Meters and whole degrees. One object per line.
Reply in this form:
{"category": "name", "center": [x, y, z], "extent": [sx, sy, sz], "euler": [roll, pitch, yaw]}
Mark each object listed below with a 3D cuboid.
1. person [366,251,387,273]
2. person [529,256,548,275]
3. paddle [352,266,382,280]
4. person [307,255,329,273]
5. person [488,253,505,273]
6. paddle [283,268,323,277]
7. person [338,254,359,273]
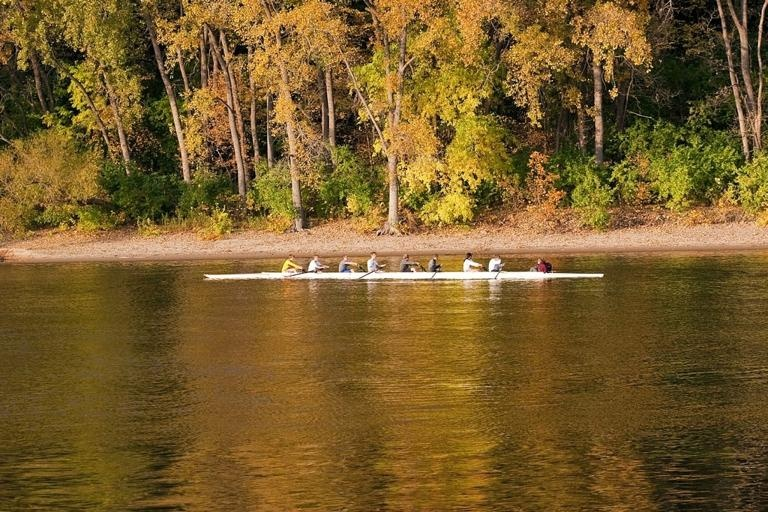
{"category": "person", "center": [-0.325, 0.378, 53.486], "extent": [0.779, 0.942, 0.903], "euler": [-9, 17, -22]}
{"category": "person", "center": [6.952, 0.450, 48.985], "extent": [0.511, 0.608, 0.890], "euler": [-13, 12, -32]}
{"category": "paddle", "center": [-0.730, 0.854, 50.723], "extent": [1.200, 0.158, 0.125], "euler": [-26, 27, -17]}
{"category": "person", "center": [-3.173, 0.463, 53.557], "extent": [0.556, 1.521, 0.797], "euler": [18, 30, 41]}
{"category": "person", "center": [5.053, 0.371, 50.225], "extent": [0.631, 0.765, 1.632], "euler": [-4, 9, 9]}
{"category": "paddle", "center": [-3.749, 0.877, 50.515], "extent": [2.309, 0.312, 0.544], "euler": [3, 16, -3]}
{"category": "person", "center": [-1.653, 0.449, 53.313], "extent": [0.622, 0.930, 0.521], "euler": [-14, 33, -9]}
